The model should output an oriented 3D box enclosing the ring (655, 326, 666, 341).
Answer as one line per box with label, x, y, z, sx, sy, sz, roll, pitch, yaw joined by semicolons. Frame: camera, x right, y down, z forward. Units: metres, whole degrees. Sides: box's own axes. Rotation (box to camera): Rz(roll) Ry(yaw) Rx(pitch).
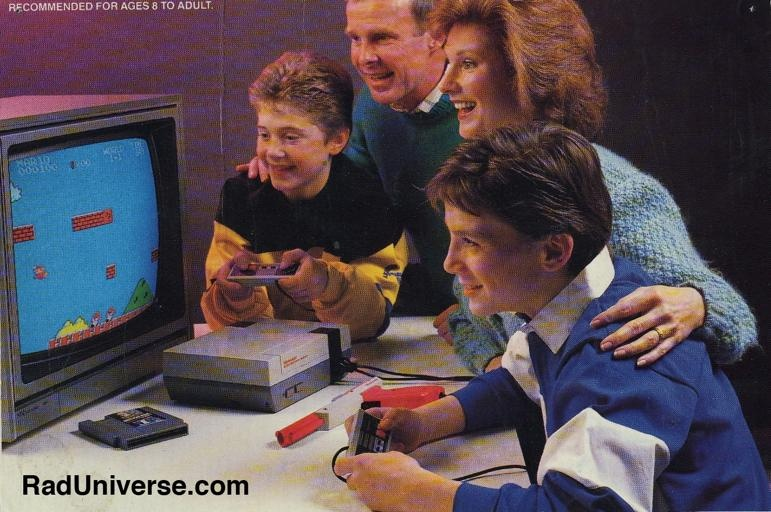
ring;0.701;0.199;1.894;0.027;0.030;0.032;-35;-5;1
